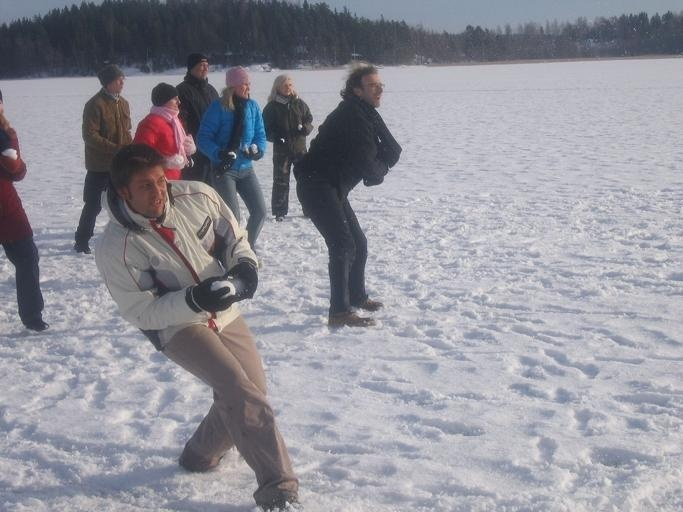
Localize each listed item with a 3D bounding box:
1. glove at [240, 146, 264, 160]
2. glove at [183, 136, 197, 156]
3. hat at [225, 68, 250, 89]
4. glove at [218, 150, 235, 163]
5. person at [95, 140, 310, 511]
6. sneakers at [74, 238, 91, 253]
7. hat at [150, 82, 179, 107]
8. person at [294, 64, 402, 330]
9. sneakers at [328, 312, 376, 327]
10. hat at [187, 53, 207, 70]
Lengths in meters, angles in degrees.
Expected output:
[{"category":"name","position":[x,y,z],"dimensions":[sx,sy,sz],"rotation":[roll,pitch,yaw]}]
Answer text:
[{"category":"glove","position":[-0.929,-1.036,7.684],"dimensions":[0.204,0.074,0.147],"rotation":[16,22,32]},{"category":"glove","position":[-1.474,-1.073,7.319],"dimensions":[0.075,0.177,0.130],"rotation":[-16,-22,33]},{"category":"hat","position":[-1.029,-1.773,7.507],"dimensions":[0.229,0.209,0.177],"rotation":[0,31,-3]},{"category":"glove","position":[-1.125,-0.984,7.424],"dimensions":[0.168,0.095,0.113],"rotation":[0,10,-16]},{"category":"person","position":[-0.849,0.374,4.837],"dimensions":[1.315,2.077,0.707],"rotation":[10,19,22]},{"category":"sneakers","position":[-2.870,-0.112,8.372],"dimensions":[0.174,0.171,0.106],"rotation":[2,9,-29]},{"category":"hat","position":[-1.648,-1.540,7.168],"dimensions":[0.244,0.229,0.190],"rotation":[-6,19,-2]},{"category":"person","position":[0.056,-0.538,6.597],"dimensions":[0.856,2.194,0.676],"rotation":[-3,18,-18]},{"category":"sneakers","position":[0.084,0.554,6.715],"dimensions":[0.413,0.166,0.153],"rotation":[-2,-1,-7]},{"category":"hat","position":[-1.494,-2.010,7.819],"dimensions":[0.201,0.189,0.183],"rotation":[-6,17,-11]}]
